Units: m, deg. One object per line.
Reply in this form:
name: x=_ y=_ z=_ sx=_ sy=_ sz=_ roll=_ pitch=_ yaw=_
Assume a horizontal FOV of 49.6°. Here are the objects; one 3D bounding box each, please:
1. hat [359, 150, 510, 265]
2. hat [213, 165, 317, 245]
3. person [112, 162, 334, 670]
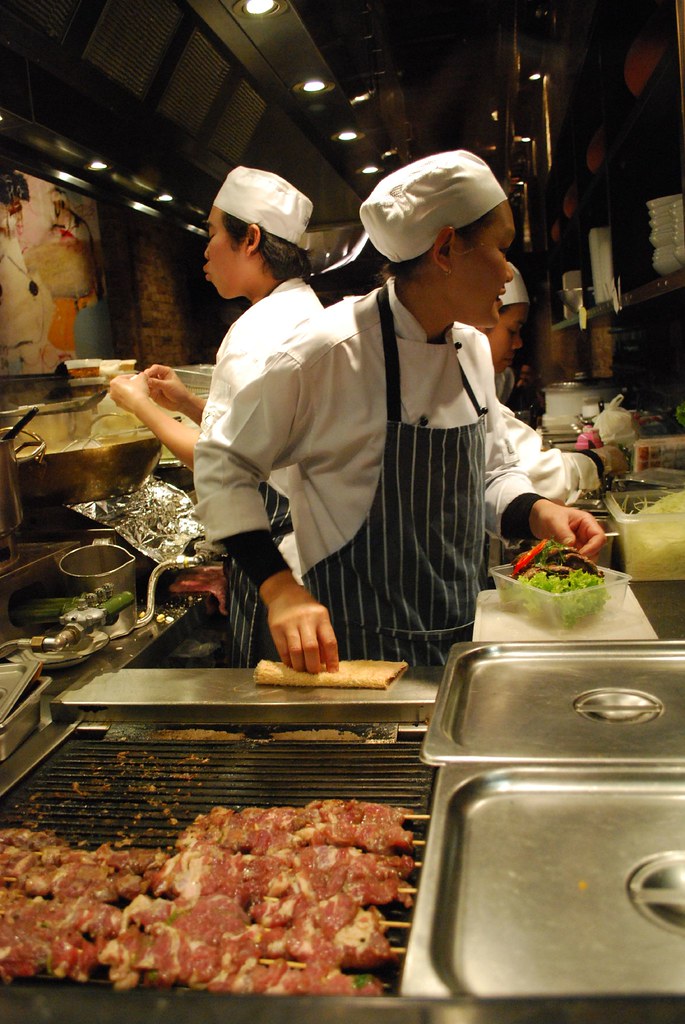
hat: x=0.162 y=-0.580 z=1.405 sx=0.281 sy=0.193 sz=0.145 roll=-4 pitch=5 yaw=13
hat: x=-0.192 y=-0.838 z=2.040 sx=0.179 sy=0.194 sz=0.402 roll=3 pitch=18 yaw=9
person: x=-0.245 y=-0.228 z=1.992 sx=0.639 sy=1.369 sz=0.667 roll=2 pitch=13 yaw=-10
